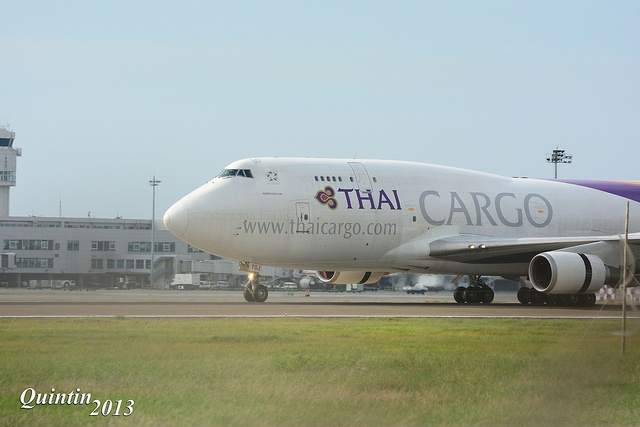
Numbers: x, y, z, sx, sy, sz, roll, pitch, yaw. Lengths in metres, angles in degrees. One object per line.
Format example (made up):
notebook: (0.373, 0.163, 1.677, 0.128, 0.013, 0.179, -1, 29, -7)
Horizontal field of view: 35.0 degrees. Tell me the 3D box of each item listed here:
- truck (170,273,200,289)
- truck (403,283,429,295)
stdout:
truck: (-11.106, 5.646, 84.201, 2.064, 0.919, 1.261, 2, 2, 20)
truck: (7.356, 5.834, 77.907, 1.104, 0.552, 1.768, 0, -4, -11)
